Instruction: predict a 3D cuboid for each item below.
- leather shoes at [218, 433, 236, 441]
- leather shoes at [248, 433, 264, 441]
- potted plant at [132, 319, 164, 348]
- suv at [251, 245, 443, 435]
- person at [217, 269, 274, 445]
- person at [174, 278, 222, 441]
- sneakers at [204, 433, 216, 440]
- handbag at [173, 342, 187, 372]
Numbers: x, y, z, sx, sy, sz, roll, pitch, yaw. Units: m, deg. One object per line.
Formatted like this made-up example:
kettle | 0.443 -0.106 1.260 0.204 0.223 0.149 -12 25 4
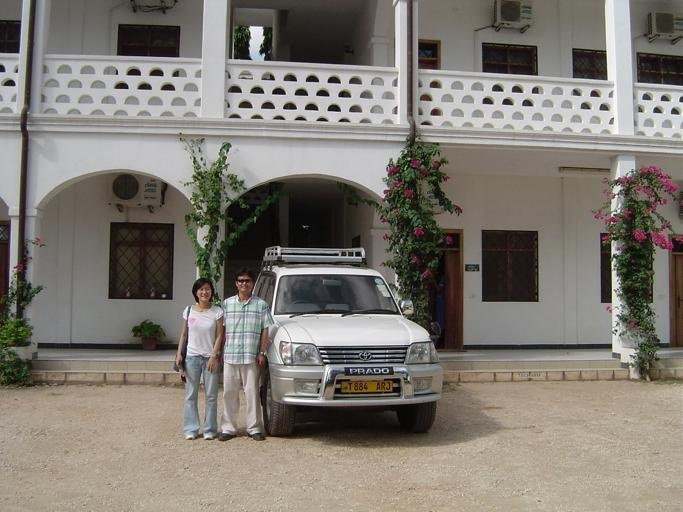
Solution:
leather shoes | -1.610 2.530 9.045 0.078 0.079 0.228 -1 -16 10
leather shoes | -1.182 2.521 9.052 0.088 0.096 0.221 8 -14 -39
potted plant | -4.443 1.802 14.910 0.594 0.580 0.630 0 -1 -6
suv | -0.093 1.289 10.271 1.688 1.901 3.235 1 -10 -10
person | -1.348 1.384 9.059 0.703 2.339 0.350 0 4 -7
person | -1.996 1.438 9.100 0.648 2.230 0.427 0 4 -12
sneakers | -1.827 2.503 9.035 0.173 0.092 0.099 0 4 -13
handbag | -2.237 1.415 9.039 0.099 0.328 0.221 8 -7 1
